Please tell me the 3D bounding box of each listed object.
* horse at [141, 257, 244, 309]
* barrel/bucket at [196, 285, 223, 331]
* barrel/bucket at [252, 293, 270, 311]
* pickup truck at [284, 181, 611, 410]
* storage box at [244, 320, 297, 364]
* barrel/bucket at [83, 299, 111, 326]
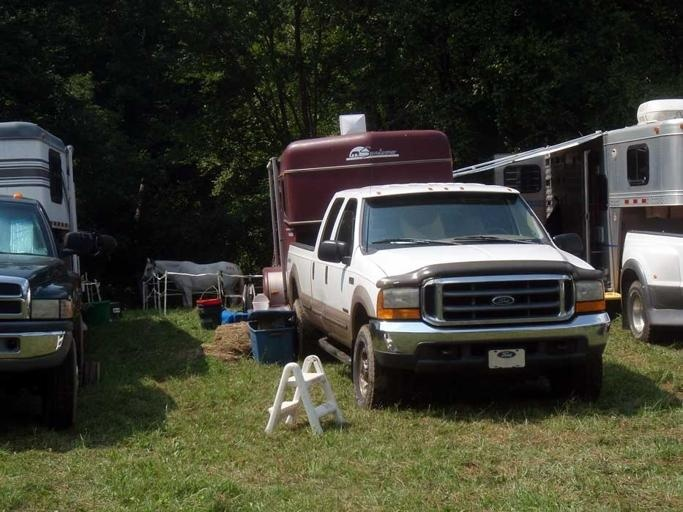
[{"bbox_3d":[-5.141,0.909,22.723,3.204,1.630,1.853,-2,2,7],"label":"horse"},{"bbox_3d":[-3.374,1.289,16.553,0.784,1.244,0.772,-1,-3,0],"label":"barrel/bucket"},{"bbox_3d":[-1.572,0.854,12.381,0.309,0.241,0.520,-3,3,-20],"label":"barrel/bucket"},{"bbox_3d":[0.904,0.371,8.694,2.141,1.754,3.919,-1,-1,-13],"label":"pickup truck"},{"bbox_3d":[-1.304,1.423,10.506,0.985,0.604,0.753,-3,-12,44],"label":"storage box"},{"bbox_3d":[-6.219,1.461,16.615,0.522,0.556,0.795,1,-5,-28],"label":"barrel/bucket"}]
